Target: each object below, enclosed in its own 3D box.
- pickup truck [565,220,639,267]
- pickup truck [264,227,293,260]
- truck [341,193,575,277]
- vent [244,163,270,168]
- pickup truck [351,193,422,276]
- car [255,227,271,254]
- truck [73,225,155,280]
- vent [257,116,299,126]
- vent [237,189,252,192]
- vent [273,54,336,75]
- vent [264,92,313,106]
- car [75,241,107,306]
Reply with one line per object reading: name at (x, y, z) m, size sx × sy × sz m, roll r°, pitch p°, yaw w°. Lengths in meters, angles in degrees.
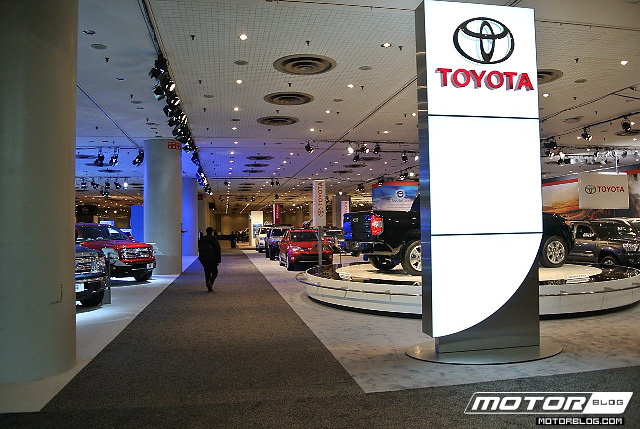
pickup truck at (10.574, 1.049, 15.605) m, size 1.885 × 1.604 × 2.509 m, roll -1°, pitch 1°, yaw 14°
pickup truck at (-2.556, 1.687, 26.183) m, size 1.359 × 1.145 × 2.660 m, roll 0°, pitch -2°, yaw -11°
truck at (3.800, 0.420, 11.792) m, size 5.852 × 1.887 × 2.442 m, roll -2°, pitch -1°, yaw -16°
vent at (-4.059, -3.142, 26.913) m, size 1.439 × 0.123 × 1.929 m, roll -1°, pitch 1°, yaw -11°
pickup truck at (1.845, 0.575, 11.463) m, size 2.204 × 1.834 × 2.169 m, roll -1°, pitch 1°, yaw -4°
car at (-4.713, 1.967, 33.518) m, size 1.403 × 1.214 × 2.785 m, roll -1°, pitch -2°, yaw -10°
truck at (-8.150, 1.355, 15.281) m, size 4.349 × 1.666 × 2.190 m, roll -2°, pitch -2°, yaw 34°
vent at (-1.638, -3.653, 16.329) m, size 1.547 × 0.138 × 1.386 m, roll 0°, pitch 1°, yaw 43°
vent at (-7.645, -2.453, 42.242) m, size 1.308 × 0.114 × 1.495 m, roll -1°, pitch 1°, yaw -10°
vent at (-0.429, -4.035, 11.310) m, size 1.669 × 0.196 × 1.136 m, roll -1°, pitch 1°, yaw -6°
vent at (-1.047, -3.801, 13.772) m, size 1.552 × 0.161 × 1.168 m, roll -1°, pitch 1°, yaw -5°
car at (-5.706, 1.613, 10.520) m, size 0.653 × 1.404 × 1.334 m, roll -2°, pitch 1°, yaw -26°
